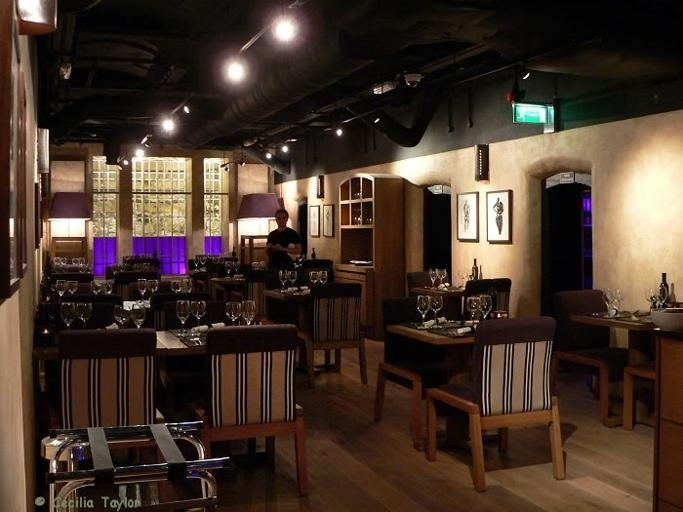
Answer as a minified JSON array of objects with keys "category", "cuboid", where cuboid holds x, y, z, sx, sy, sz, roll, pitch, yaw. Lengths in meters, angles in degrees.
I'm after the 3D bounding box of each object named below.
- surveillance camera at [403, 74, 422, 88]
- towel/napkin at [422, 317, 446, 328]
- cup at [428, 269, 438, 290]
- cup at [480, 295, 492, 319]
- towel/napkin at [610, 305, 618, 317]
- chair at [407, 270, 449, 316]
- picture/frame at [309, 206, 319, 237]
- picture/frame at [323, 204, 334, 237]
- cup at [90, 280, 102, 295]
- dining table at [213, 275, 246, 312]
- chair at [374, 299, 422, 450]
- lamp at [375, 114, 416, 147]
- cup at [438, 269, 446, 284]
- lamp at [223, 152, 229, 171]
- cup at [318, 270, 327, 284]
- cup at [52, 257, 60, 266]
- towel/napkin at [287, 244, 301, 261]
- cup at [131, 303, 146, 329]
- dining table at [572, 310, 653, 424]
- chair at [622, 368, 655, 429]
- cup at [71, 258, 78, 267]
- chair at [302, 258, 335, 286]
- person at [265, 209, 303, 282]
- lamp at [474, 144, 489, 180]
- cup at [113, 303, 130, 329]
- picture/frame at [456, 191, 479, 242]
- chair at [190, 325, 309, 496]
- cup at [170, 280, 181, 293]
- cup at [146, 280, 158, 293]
[{"category":"surveillance camera","cuboid":[1.032,-2.544,8.297,0.238,0.185,0.360,0,3,10]},{"category":"towel/napkin","cuboid":[0.840,0.595,5.211,0.078,0.062,0.343,8,0,36]},{"category":"cup","cuboid":[1.301,0.318,8.175,0.113,0.264,0.488,0,3,9]},{"category":"cup","cuboid":[1.245,0.447,4.997,0.093,0.230,0.330,1,3,13]},{"category":"towel/napkin","cuboid":[2.755,0.568,5.886,0.081,0.108,0.112,0,-6,10]},{"category":"chair","cuboid":[1.260,0.501,8.118,0.612,0.830,0.507,1,-3,-29]},{"category":"picture/frame","cuboid":[-0.632,-0.821,13.791,0.105,0.887,0.726,0,0,-19]},{"category":"picture/frame","cuboid":[-0.281,-0.785,12.989,0.092,0.896,0.722,1,-1,-18]},{"category":"cup","cuboid":[-2.804,0.367,6.616,0.152,0.183,0.158,4,5,0]},{"category":"dining table","cuboid":[-1.934,0.585,10.108,0.749,0.483,0.747,2,0,-31]},{"category":"chair","cuboid":[0.522,1.026,5.364,0.444,1.211,0.926,0,3,3]},{"category":"lamp","cuboid":[0.914,-2.126,9.862,0.804,0.548,0.213,1,3,28]},{"category":"cup","cuboid":[1.435,0.303,8.227,0.099,0.223,0.401,1,3,14]},{"category":"lamp","cuboid":[-3.279,-2.664,16.430,0.233,0.538,1.303,-1,3,-11]},{"category":"cup","cuboid":[-0.237,0.287,7.722,0.135,0.273,0.142,1,8,0]},{"category":"cup","cuboid":[-5.684,0.119,11.563,0.156,0.189,0.158,0,-6,0]},{"category":"towel/napkin","cuboid":[-0.858,-0.068,10.566,0.283,0.266,0.293,8,4,38]},{"category":"cup","cuboid":[-1.594,0.488,4.562,0.090,0.183,0.292,-1,3,-16]},{"category":"dining table","cuboid":[2.872,1.109,5.923,0.928,1.001,0.950,-2,4,-16]},{"category":"chair","cuboid":[2.797,1.334,5.419,0.275,0.605,0.321,-3,4,-40]},{"category":"cup","cuboid":[-5.335,0.135,11.624,0.116,0.162,0.156,-6,-10,35]},{"category":"chair","cuboid":[-0.447,0.435,11.309,0.724,0.670,0.385,0,4,-5]},{"category":"person","cuboid":[-1.067,0.092,9.955,0.597,1.725,0.533,2,-1,20]},{"category":"lamp","cuboid":[2.094,-1.381,8.593,0.204,0.538,0.108,0,3,13]},{"category":"cup","cuboid":[-1.755,0.497,4.650,0.100,0.198,0.329,-2,3,-24]},{"category":"picture/frame","cuboid":[1.977,-0.621,9.021,0.037,1.061,0.707,-2,4,-24]},{"category":"chair","cuboid":[-0.574,0.901,3.878,0.763,1.308,0.825,0,4,-15]},{"category":"cup","cuboid":[-1.713,0.327,6.062,0.117,0.200,0.117,1,-1,0]},{"category":"cup","cuboid":[-2.061,0.335,6.368,0.079,0.150,0.429,-1,3,-13]}]
